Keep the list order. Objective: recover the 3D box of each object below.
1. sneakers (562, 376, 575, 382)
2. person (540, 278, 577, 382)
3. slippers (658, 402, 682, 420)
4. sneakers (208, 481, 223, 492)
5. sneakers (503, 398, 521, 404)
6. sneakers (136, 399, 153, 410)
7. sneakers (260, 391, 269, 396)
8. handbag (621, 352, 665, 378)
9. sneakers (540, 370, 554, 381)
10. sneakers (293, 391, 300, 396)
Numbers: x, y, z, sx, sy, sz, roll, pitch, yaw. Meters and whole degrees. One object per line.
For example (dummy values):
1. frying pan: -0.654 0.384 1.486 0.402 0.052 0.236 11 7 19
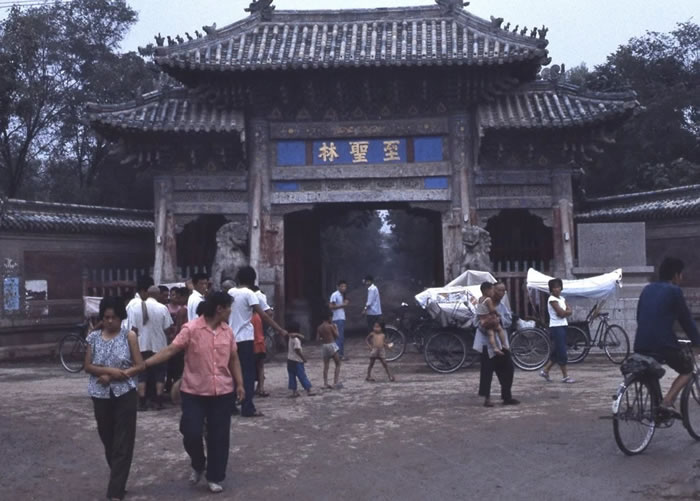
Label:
1. sneakers: 4.424 2.598 16.991 0.228 0.103 0.107 -2 4 9
2. person: 4.276 1.657 17.313 0.631 2.134 1.116 1 10 13
3. slippers: 5.017 2.516 13.138 0.475 0.213 0.166 13 -48 -16
4. sneakers: -1.920 3.383 12.057 0.184 0.127 0.103 -2 9 -7
5. sneakers: 2.955 2.717 15.281 0.294 0.133 0.111 -2 1 -6
6. sneakers: -3.794 2.885 15.682 0.313 0.246 0.129 7 -9 -8
7. sneakers: -1.652 2.775 16.346 0.171 0.072 0.062 -1 2 -13
8. handbag: 4.547 1.761 13.037 0.486 0.236 0.383 7 -1 -19
9. sneakers: 4.076 2.588 17.477 0.117 0.299 0.104 -8 -12 -7
10. sneakers: -1.020 2.790 16.391 0.051 0.102 0.161 3 7 25
